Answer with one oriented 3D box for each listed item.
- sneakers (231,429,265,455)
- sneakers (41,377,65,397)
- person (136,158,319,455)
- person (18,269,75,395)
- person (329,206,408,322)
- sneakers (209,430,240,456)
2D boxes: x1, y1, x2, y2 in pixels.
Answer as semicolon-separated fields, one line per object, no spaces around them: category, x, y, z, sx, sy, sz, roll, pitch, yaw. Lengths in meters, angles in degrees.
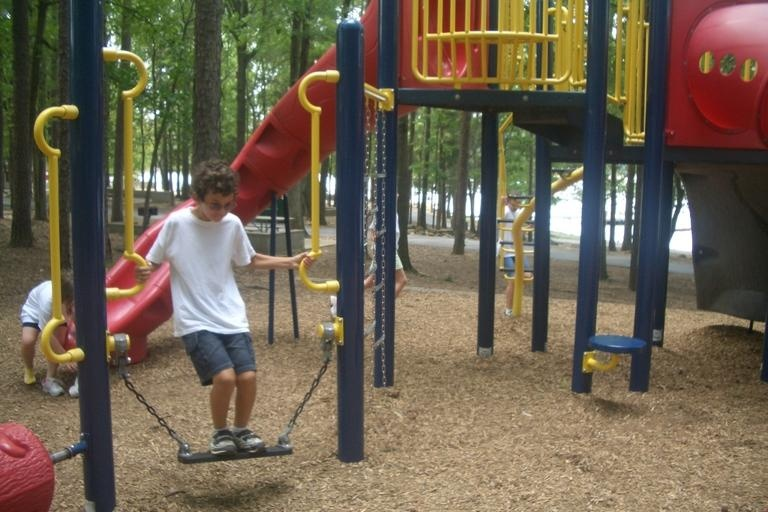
sneakers;-1.193;1.668;8.007;0.341;0.158;0.148;8;6;18
sneakers;-3.624;1.413;9.710;0.298;0.158;0.130;7;28;34
person;-1.488;0.637;7.960;1.150;2.182;0.639;1;9;-8
person;-3.697;0.843;9.782;0.543;1.279;1.238;-2;10;-25
person;-0.149;0.114;9.960;0.636;1.402;2.501;10;-13;-2
sneakers;-1.429;1.650;7.860;0.218;0.216;0.116;1;9;-9
